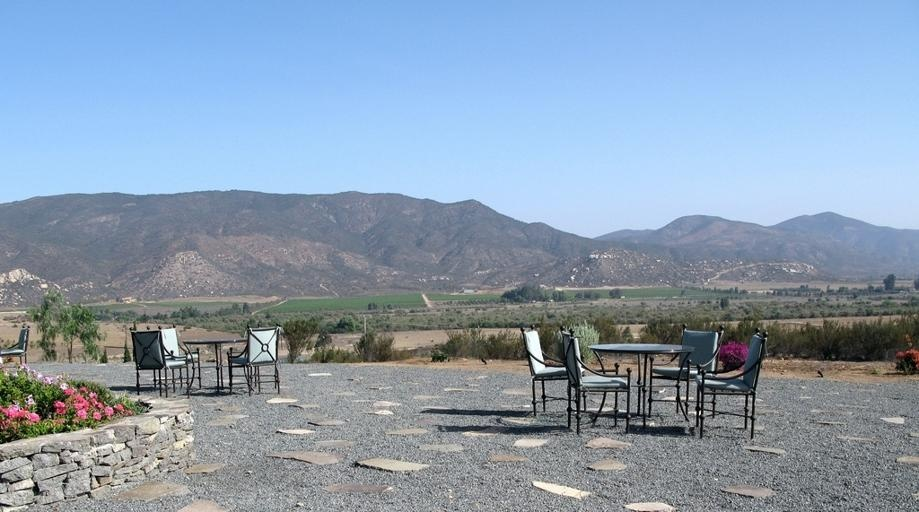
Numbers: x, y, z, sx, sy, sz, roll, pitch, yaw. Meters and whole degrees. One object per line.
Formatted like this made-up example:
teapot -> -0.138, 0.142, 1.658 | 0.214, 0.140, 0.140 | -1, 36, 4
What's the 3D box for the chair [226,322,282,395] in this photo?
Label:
chair -> -3.970, 1.937, 13.735 | 0.939, 1.204, 3.423 | -1, -3, -15
